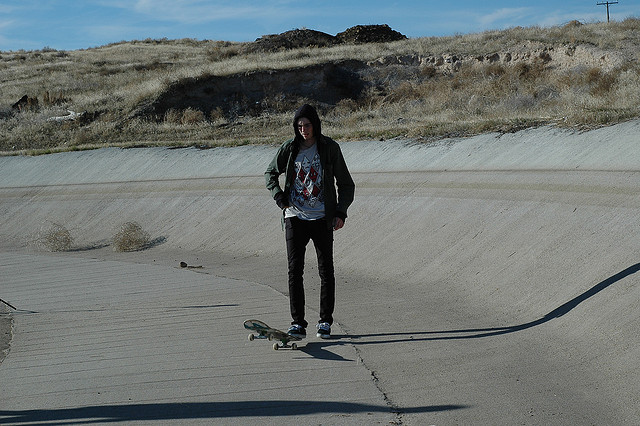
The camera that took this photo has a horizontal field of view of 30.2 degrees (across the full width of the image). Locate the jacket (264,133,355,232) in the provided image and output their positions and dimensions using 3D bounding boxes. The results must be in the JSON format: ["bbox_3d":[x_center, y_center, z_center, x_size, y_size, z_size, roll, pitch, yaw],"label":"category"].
[{"bbox_3d":[-0.254,-0.692,26.662,2.009,1.695,0.908,0,1,5],"label":"jacket"}]
